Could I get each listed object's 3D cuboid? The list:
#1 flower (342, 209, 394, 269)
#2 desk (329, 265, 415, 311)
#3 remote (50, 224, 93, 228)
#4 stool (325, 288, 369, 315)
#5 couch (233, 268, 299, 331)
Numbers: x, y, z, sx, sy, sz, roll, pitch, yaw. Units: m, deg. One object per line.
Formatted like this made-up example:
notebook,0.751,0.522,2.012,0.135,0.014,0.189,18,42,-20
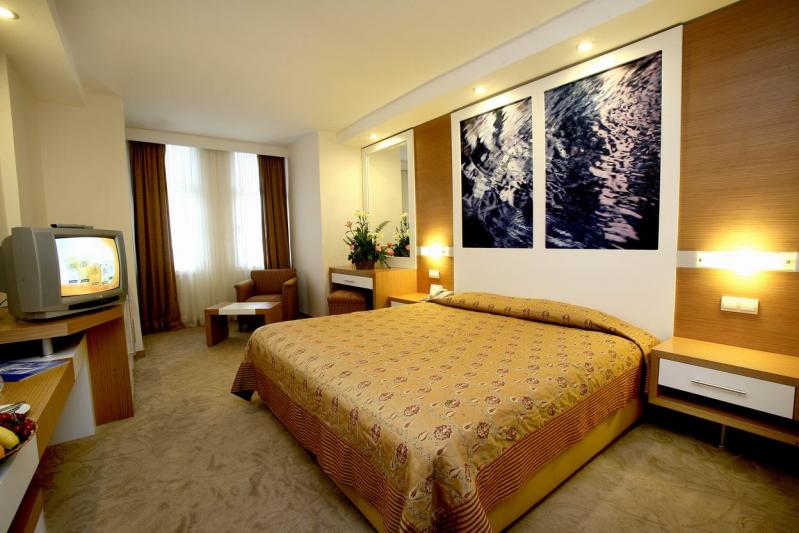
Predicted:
flower,-0.530,-0.378,6.652,0.791,0.720,0.774,0,4,-29
desk,-0.449,0.277,6.333,0.870,0.505,0.486,7,12,44
remote,-2.767,-0.346,4.072,0.180,0.044,0.197,-1,3,-38
stool,-0.687,0.424,6.212,0.374,0.305,0.368,0,-1,26
couch,-1.915,0.424,6.991,1.046,0.999,0.815,0,1,0
